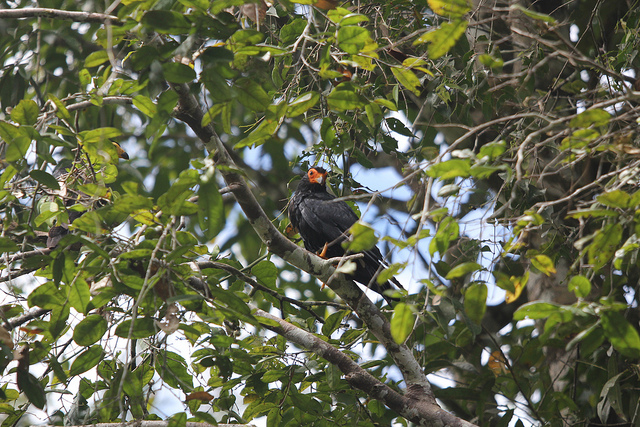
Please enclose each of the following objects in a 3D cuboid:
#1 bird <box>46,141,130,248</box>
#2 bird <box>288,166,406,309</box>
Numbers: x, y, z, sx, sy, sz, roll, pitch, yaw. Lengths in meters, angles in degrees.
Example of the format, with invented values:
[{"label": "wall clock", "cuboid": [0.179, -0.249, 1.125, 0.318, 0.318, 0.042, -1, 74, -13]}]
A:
[{"label": "bird", "cuboid": [-1.854, -0.004, 7.035, 0.323, 0.776, 0.724, 28, 17, 35]}, {"label": "bird", "cuboid": [0.269, 0.420, 8.869, 1.260, 0.873, 1.770, -2, 59, 4]}]
